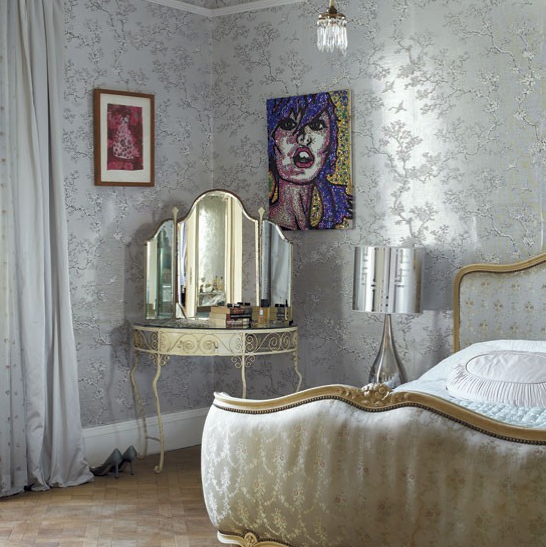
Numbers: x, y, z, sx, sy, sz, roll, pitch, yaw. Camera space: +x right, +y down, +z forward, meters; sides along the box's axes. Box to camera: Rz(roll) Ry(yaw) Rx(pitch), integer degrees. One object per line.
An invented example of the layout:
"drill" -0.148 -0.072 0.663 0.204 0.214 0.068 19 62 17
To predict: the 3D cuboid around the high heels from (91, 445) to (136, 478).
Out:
"high heels" -0.890 1.082 3.334 0.212 0.115 0.133 -9 -7 42
